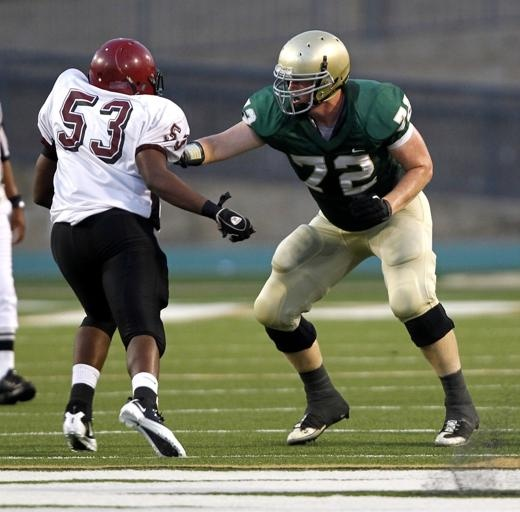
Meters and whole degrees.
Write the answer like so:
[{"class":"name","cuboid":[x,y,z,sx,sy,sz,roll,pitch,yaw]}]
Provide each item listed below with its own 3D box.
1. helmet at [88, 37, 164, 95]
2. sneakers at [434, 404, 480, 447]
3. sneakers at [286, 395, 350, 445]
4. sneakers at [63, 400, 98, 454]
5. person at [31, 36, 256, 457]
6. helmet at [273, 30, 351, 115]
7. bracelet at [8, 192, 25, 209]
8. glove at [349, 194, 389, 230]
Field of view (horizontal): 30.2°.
[{"class":"helmet","cuboid":[-0.522,-0.729,3.893,0.308,0.219,0.223,-15,51,-34]},{"class":"sneakers","cuboid":[0.795,0.699,3.847,0.081,0.079,0.234,-2,4,33]},{"class":"sneakers","cuboid":[0.244,0.686,4.025,0.341,0.130,0.105,-16,-14,-45]},{"class":"sneakers","cuboid":[-0.686,0.664,3.642,0.115,0.198,0.132,-3,14,-9]},{"class":"person","cuboid":[-0.487,-0.011,3.720,0.701,1.627,1.024,-6,14,-21]},{"class":"helmet","cuboid":[0.207,-0.747,3.931,0.310,0.334,0.321,0,13,2]},{"class":"bracelet","cuboid":[-1.380,-0.316,5.449,0.083,0.071,0.084,31,-12,-5]},{"class":"glove","cuboid":[0.445,-0.171,3.810,0.159,0.156,0.212,3,13,16]}]
